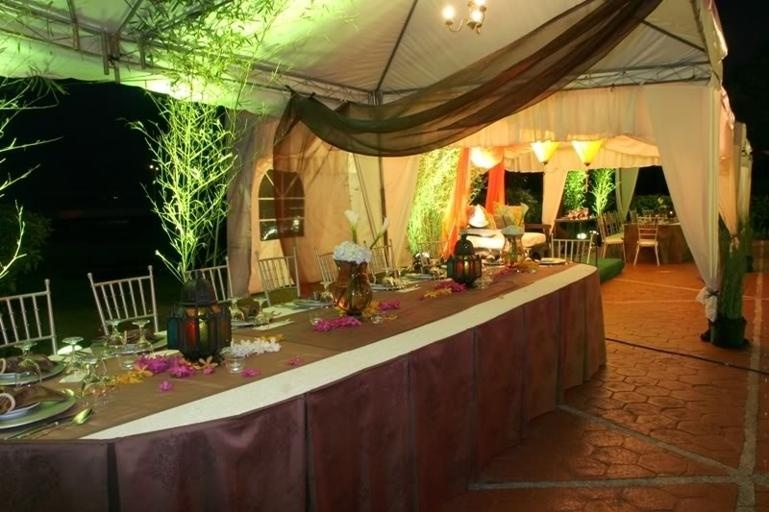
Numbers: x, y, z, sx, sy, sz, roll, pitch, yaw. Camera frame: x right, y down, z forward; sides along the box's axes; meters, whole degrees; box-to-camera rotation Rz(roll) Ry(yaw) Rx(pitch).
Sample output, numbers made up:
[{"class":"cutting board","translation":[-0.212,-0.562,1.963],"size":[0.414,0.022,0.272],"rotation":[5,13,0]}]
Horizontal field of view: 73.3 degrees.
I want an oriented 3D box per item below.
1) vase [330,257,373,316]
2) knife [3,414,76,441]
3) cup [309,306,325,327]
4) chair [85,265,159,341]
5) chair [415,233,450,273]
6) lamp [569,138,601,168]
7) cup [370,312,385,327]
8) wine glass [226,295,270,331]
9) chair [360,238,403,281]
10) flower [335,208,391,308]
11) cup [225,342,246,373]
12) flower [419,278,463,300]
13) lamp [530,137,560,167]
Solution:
[{"class":"vase","translation":[-0.237,0.221,3.817],"size":[0.282,0.399,0.282],"rotation":[-3,8,-26]},{"class":"knife","translation":[-1.627,0.801,2.413],"size":[0.309,0.035,0.040],"rotation":[-11,39,-41]},{"class":"cup","translation":[-0.498,0.437,3.700],"size":[0.077,0.081,0.105],"rotation":[1,-2,5]},{"class":"chair","translation":[-3.308,0.570,6.457],"size":[0.651,1.249,0.708],"rotation":[-7,-4,-34]},{"class":"chair","translation":[0.642,-0.067,7.342],"size":[0.597,0.521,0.538],"rotation":[-4,5,-28]},{"class":"lamp","translation":[3.818,-1.924,9.813],"size":[0.365,0.476,0.846],"rotation":[1,12,14]},{"class":"cup","translation":[-0.058,0.432,3.619],"size":[0.077,0.060,0.075],"rotation":[0,-3,0]},{"class":"wine glass","translation":[-1.036,0.430,3.917],"size":[0.316,0.119,0.317],"rotation":[1,4,24]},{"class":"chair","translation":[-0.050,0.067,5.905],"size":[0.377,0.443,0.379],"rotation":[-4,1,-39]},{"class":"flower","translation":[-0.197,0.051,3.814],"size":[0.309,0.702,0.529],"rotation":[3,4,2]},{"class":"cup","translation":[-0.849,0.581,2.959],"size":[0.111,0.114,0.140],"rotation":[0,-3,-3]},{"class":"flower","translation":[0.492,0.294,4.438],"size":[0.165,0.127,0.253],"rotation":[-24,-5,41]},{"class":"lamp","translation":[3.027,-1.936,9.844],"size":[0.417,0.409,0.800],"rotation":[2,12,18]}]
